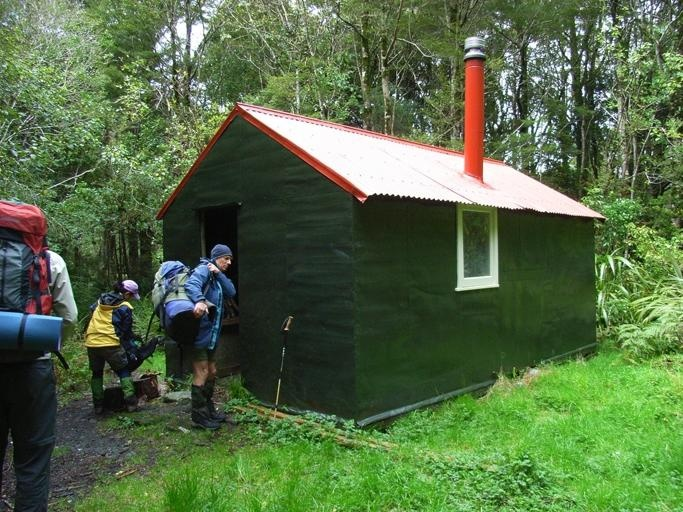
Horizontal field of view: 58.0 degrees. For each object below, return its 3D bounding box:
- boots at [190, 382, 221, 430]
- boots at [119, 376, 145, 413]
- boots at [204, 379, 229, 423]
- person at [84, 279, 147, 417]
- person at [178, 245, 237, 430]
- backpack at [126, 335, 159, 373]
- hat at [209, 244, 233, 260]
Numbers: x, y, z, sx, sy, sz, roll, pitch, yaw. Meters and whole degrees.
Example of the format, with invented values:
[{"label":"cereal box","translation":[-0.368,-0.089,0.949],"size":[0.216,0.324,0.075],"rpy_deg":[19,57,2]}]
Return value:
[{"label":"boots","translation":[-1.853,2.104,8.618],"size":[0.487,0.606,0.277],"rpy_deg":[3,2,21]},{"label":"boots","translation":[-3.168,2.086,9.276],"size":[0.544,0.570,0.215],"rpy_deg":[-8,-1,30]},{"label":"boots","translation":[-1.856,2.128,8.876],"size":[0.188,0.590,0.460],"rpy_deg":[-5,-43,-8]},{"label":"person","translation":[-3.446,1.373,9.349],"size":[0.761,1.976,0.441],"rpy_deg":[0,1,-24]},{"label":"person","translation":[-1.849,1.108,8.649],"size":[0.464,2.517,0.766],"rpy_deg":[0,1,25]},{"label":"backpack","translation":[-3.045,1.503,9.596],"size":[0.379,0.584,0.576],"rpy_deg":[1,8,26]},{"label":"hat","translation":[-1.736,-0.064,8.925],"size":[0.249,0.217,0.258],"rpy_deg":[4,2,-1]}]
